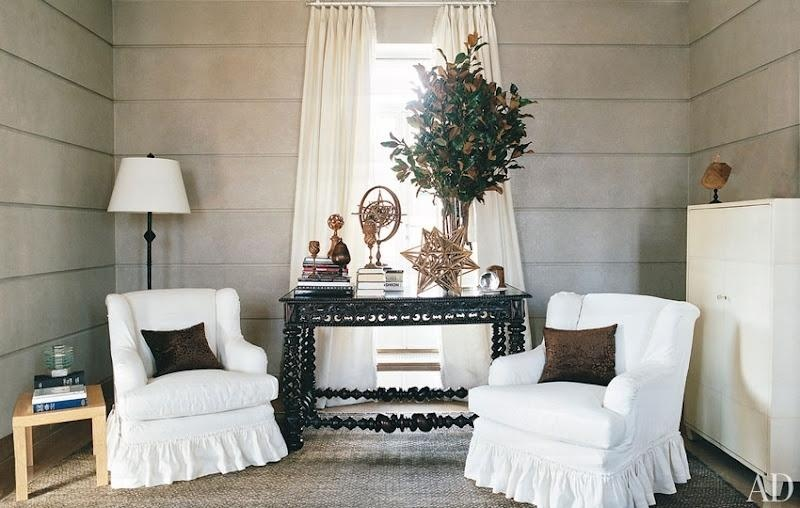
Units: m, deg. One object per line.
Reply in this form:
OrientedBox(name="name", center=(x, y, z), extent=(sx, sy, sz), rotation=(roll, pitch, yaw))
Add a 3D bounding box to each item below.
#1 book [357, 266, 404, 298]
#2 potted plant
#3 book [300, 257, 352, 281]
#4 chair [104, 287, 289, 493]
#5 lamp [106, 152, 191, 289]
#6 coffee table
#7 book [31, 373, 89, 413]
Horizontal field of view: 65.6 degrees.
OrientedBox(name="book", center=(-0.163, 0.266, 4.930), extent=(0.315, 0.155, 0.233), rotation=(0, -6, -3))
OrientedBox(name="potted plant", center=(0.490, -0.973, 6.001), extent=(1.604, 2.406, 1.811), rotation=(-2, 6, 2))
OrientedBox(name="book", center=(-0.604, 0.127, 4.912), extent=(0.390, 0.174, 0.200), rotation=(0, 1, -9))
OrientedBox(name="chair", center=(-1.612, 0.919, 5.111), extent=(1.544, 1.506, 1.348), rotation=(0, -7, -26))
OrientedBox(name="lamp", center=(-2.146, -0.274, 5.379), extent=(0.621, 1.152, 0.526), rotation=(1, 2, 11))
OrientedBox(name="coffee table", center=(-2.425, 1.352, 4.454), extent=(0.593, 0.718, 0.418), rotation=(0, 2, -25))
OrientedBox(name="book", center=(-2.419, 0.983, 4.391), extent=(0.281, 0.178, 0.286), rotation=(1, 0, -30))
